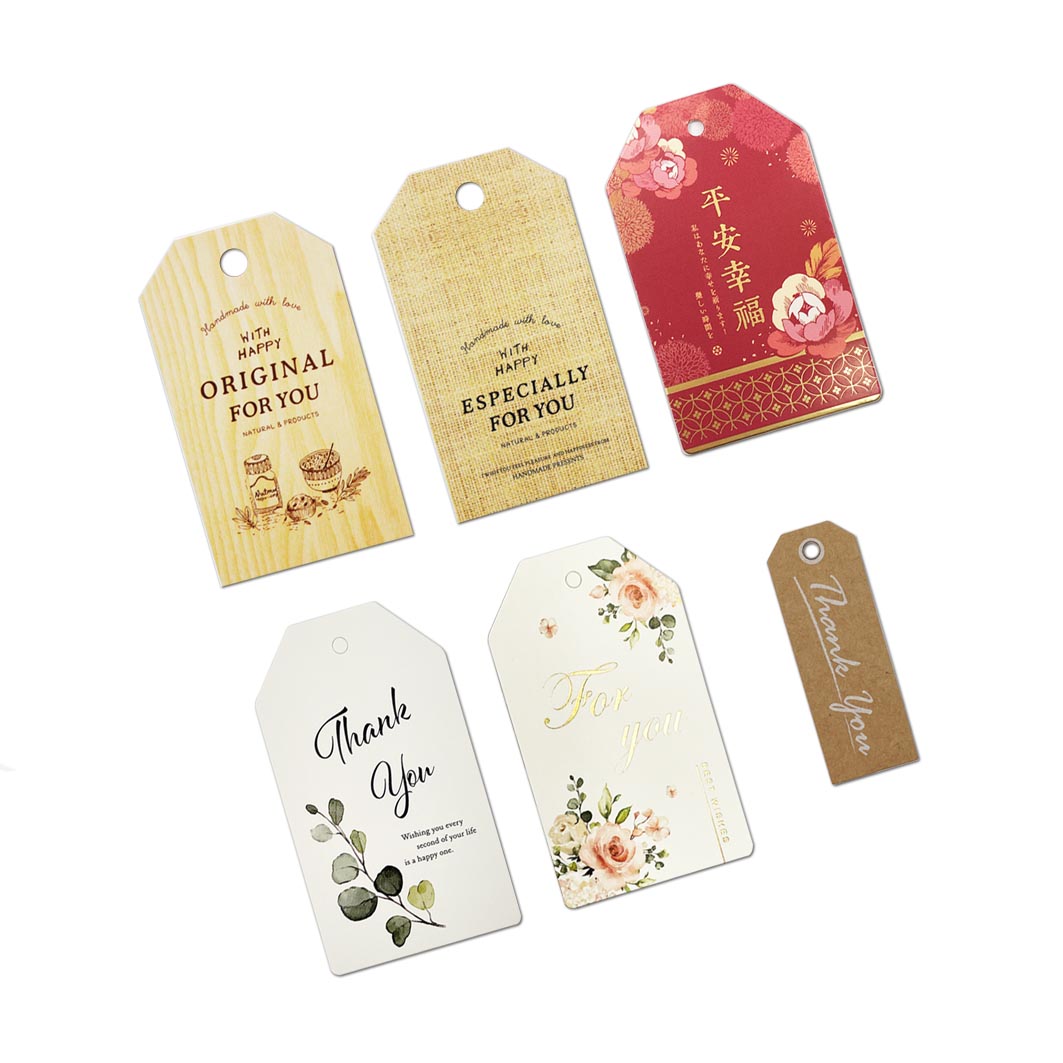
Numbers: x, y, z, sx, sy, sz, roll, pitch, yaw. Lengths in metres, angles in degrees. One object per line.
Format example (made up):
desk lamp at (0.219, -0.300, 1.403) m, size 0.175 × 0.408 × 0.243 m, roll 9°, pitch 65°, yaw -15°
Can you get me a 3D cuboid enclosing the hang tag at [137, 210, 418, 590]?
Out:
hang tag at (-0.429, -0.249, 2.000) m, size 0.296 × 0.497 × 0.504 m, roll -15°, pitch -51°, yaw -11°
